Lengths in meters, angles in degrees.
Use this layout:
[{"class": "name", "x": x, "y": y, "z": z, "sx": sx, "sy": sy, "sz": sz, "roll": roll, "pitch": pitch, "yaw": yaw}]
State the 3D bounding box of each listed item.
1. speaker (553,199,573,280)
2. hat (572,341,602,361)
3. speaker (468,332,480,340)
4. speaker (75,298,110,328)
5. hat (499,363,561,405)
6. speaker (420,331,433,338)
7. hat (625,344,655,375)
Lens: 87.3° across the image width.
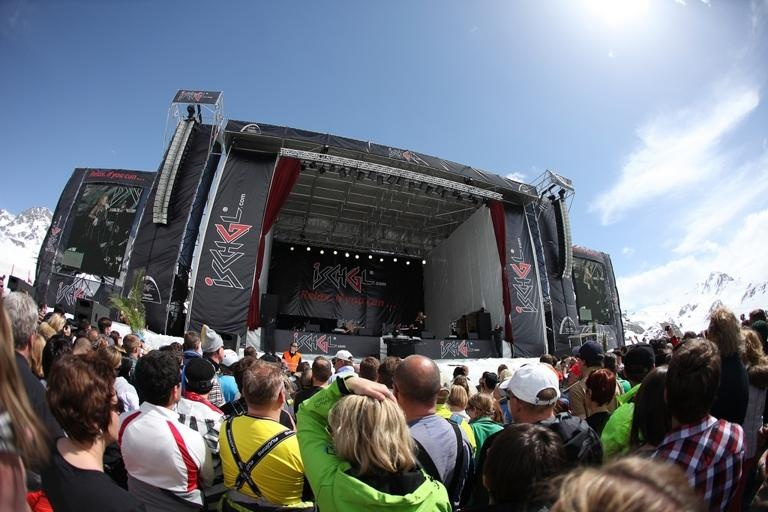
[{"class": "speaker", "x": 8.282, "y": -0.806, "z": 18.600, "sx": 0.673, "sy": 3.324, "sz": 1.786, "roll": -3, "pitch": -16, "yaw": 25}, {"class": "hat", "x": 2.135, "y": 0.993, "z": 4.205, "sx": 0.181, "sy": 0.143, "sz": 0.252, "roll": 0, "pitch": 13, "yaw": 1}, {"class": "speaker", "x": 3.639, "y": 3.182, "z": 16.285, "sx": 0.426, "sy": 0.265, "sz": 0.212, "roll": 1, "pitch": -13, "yaw": 1}, {"class": "speaker", "x": -6.936, "y": 1.354, "z": 9.567, "sx": 0.525, "sy": 0.683, "sz": 0.952, "roll": -3, "pitch": -10, "yaw": 0}, {"class": "hat", "x": 1.041, "y": 0.893, "z": 2.919, "sx": 0.264, "sy": 0.196, "sz": 0.349, "roll": -1, "pitch": 9, "yaw": -15}, {"class": "speaker", "x": 1.649, "y": 3.019, "z": 15.291, "sx": 0.582, "sy": 0.357, "sz": 0.305, "roll": 2, "pitch": -16, "yaw": -2}, {"class": "hat", "x": 2.441, "y": 1.001, "z": 3.853, "sx": 0.211, "sy": 0.178, "sz": 0.321, "roll": -2, "pitch": 28, "yaw": 38}]
